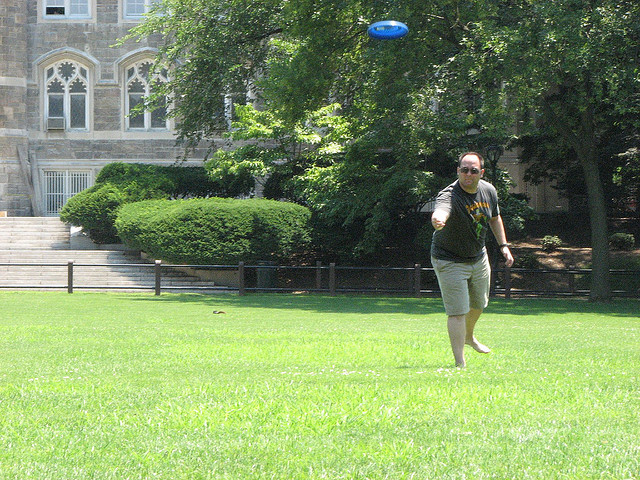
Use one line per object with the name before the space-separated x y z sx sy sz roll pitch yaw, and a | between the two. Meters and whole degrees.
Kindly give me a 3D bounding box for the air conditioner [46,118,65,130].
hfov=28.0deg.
air conditioner | -11.796 -5.299 58.526 0.878 0.481 0.575 -1 -4 3
